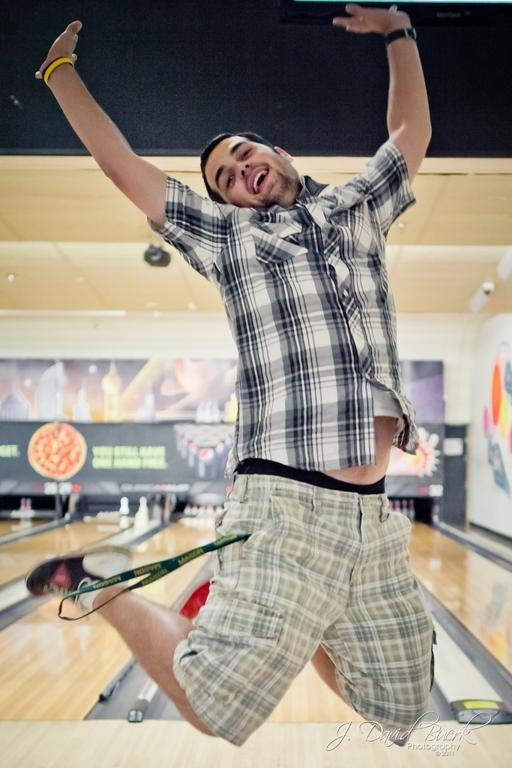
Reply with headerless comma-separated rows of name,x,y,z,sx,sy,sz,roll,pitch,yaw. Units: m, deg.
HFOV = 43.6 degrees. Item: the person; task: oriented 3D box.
person,0.025,-0.090,1.157,0.742,1.513,0.425,1,-5,-16
